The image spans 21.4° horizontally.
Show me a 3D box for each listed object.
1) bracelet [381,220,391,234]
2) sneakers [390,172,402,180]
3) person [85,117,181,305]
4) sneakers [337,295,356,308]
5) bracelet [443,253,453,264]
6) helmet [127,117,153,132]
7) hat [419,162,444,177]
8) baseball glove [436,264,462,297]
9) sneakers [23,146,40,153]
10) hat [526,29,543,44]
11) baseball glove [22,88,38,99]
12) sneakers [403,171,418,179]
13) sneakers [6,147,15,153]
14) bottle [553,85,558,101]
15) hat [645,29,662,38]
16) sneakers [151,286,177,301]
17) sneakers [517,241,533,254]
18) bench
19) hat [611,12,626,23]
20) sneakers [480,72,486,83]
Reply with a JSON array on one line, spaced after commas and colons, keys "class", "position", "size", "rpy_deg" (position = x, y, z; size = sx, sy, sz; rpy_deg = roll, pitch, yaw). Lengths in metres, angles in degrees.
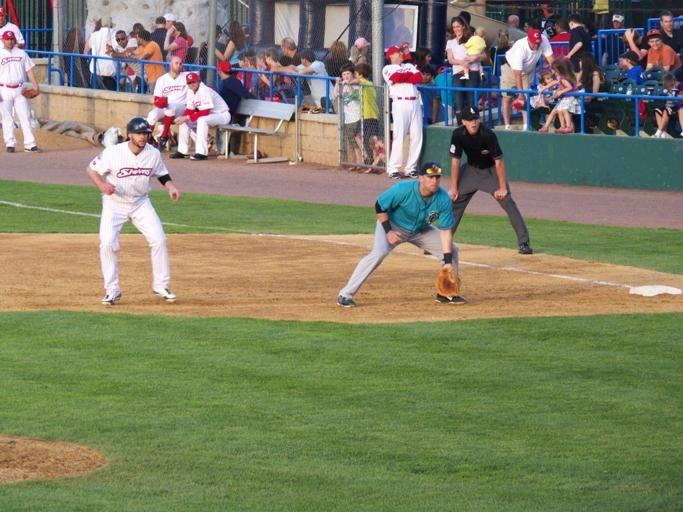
[{"class": "bracelet", "position": [0.621, -0.380, 24.699], "size": [0.130, 0.181, 0.241], "rpy_deg": [2, 7, 2]}, {"class": "sneakers", "position": [1.061, -1.545, 35.337], "size": [0.244, 0.109, 0.110], "rpy_deg": [-1, 3, 24]}, {"class": "person", "position": [-2.856, -0.587, 24.714], "size": [1.165, 2.567, 0.568], "rpy_deg": [0, 8, -13]}, {"class": "sneakers", "position": [0.051, 0.654, 24.849], "size": [0.278, 0.117, 0.111], "rpy_deg": [4, 4, 40]}, {"class": "bracelet", "position": [1.448, 0.067, 24.774], "size": [0.137, 0.127, 0.128], "rpy_deg": [3, 4, -5]}, {"class": "helmet", "position": [-2.736, -1.750, 24.521], "size": [0.280, 0.206, 0.458], "rpy_deg": [1, 7, -8]}, {"class": "hat", "position": [1.200, -1.142, 24.404], "size": [0.289, 0.174, 0.389], "rpy_deg": [2, 7, 1]}, {"class": "baseball glove", "position": [1.472, 0.379, 24.928], "size": [0.334, 0.464, 0.203], "rpy_deg": [10, 38, 25]}, {"class": "sneakers", "position": [-6.528, -2.224, 38.260], "size": [0.335, 0.123, 0.126], "rpy_deg": [1, 18, 30]}, {"class": "hat", "position": [3.676, -4.196, 34.524], "size": [0.242, 0.160, 0.298], "rpy_deg": [-12, 41, -19]}, {"class": "baseball glove", "position": [-6.358, -3.322, 37.111], "size": [0.328, 0.106, 0.322], "rpy_deg": [0, 3, -19]}, {"class": "sneakers", "position": [1.360, -1.562, 35.362], "size": [0.275, 0.107, 0.125], "rpy_deg": [-5, -1, 29]}, {"class": "sneakers", "position": [-6.889, -2.187, 37.835], "size": [0.134, 0.092, 0.197], "rpy_deg": [-4, 4, -6]}, {"class": "bottle", "position": [4.075, -3.084, 34.372], "size": [0.107, 0.277, 0.384], "rpy_deg": [3, 7, 8]}, {"class": "hat", "position": [5.963, -4.241, 34.625], "size": [0.252, 0.104, 0.340], "rpy_deg": [-2, 6, 6]}, {"class": "sneakers", "position": [-2.427, 0.564, 25.098], "size": [0.338, 0.133, 0.143], "rpy_deg": [26, 5, 20]}, {"class": "sneakers", "position": [2.849, -0.094, 28.226], "size": [0.227, 0.262, 0.611], "rpy_deg": [-1, 0, -1]}, {"class": "bench", "position": [-1.934, -2.620, 38.118], "size": [1.100, 1.149, 2.071], "rpy_deg": [-8, 13, -33]}, {"class": "hat", "position": [5.896, -5.070, 38.641], "size": [0.272, 0.132, 0.421], "rpy_deg": [4, 6, 15]}, {"class": "sneakers", "position": [2.870, -3.646, 36.871], "size": [0.094, 0.274, 0.118], "rpy_deg": [-5, 31, -2]}]
